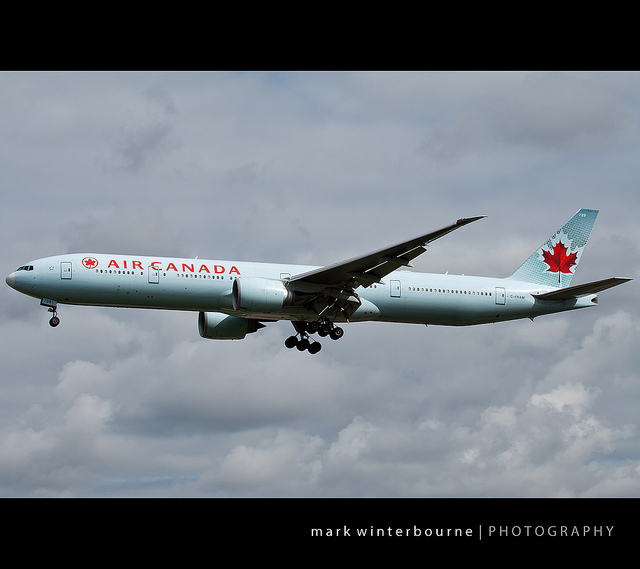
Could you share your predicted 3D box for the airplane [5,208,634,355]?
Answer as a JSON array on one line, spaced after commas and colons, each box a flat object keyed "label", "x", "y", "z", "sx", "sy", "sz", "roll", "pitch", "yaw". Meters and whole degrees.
[{"label": "airplane", "x": 0.190, "y": -0.372, "z": 34.132, "sx": 17.919, "sy": 3.457, "sz": 4.423, "roll": 0, "pitch": -13, "yaw": -14}]
